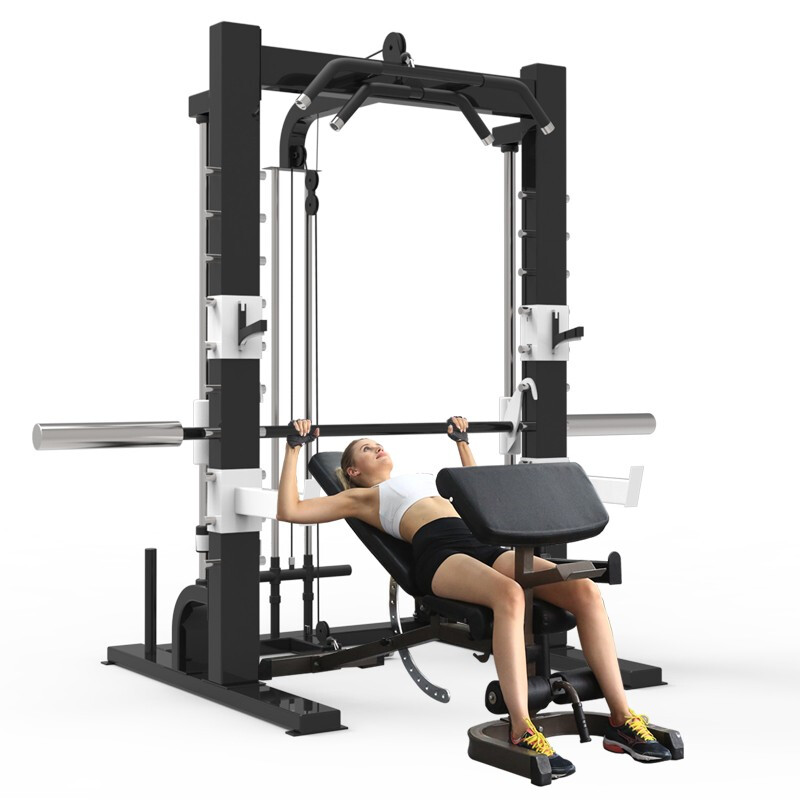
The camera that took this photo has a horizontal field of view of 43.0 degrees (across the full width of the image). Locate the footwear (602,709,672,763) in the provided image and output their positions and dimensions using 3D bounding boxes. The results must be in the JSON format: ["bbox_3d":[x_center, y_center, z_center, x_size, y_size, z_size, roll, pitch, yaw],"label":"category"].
[{"bbox_3d":[0.677,0.960,2.888,0.105,0.105,0.262,8,-7,-25],"label":"footwear"}]

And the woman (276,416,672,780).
[{"bbox_3d":[0.208,0.504,3.157,0.864,0.792,1.304,-2,10,-32],"label":"woman"}]

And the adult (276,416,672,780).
[{"bbox_3d":[0.236,0.514,3.163,0.857,0.783,1.331,-4,12,-35],"label":"adult"}]

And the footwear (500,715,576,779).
[{"bbox_3d":[0.372,0.932,2.732,0.152,0.138,0.224,0,-4,-12],"label":"footwear"}]

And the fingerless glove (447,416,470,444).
[{"bbox_3d":[0.230,0.116,4.010,0.119,0.087,0.031,0,-14,-16],"label":"fingerless glove"}]
